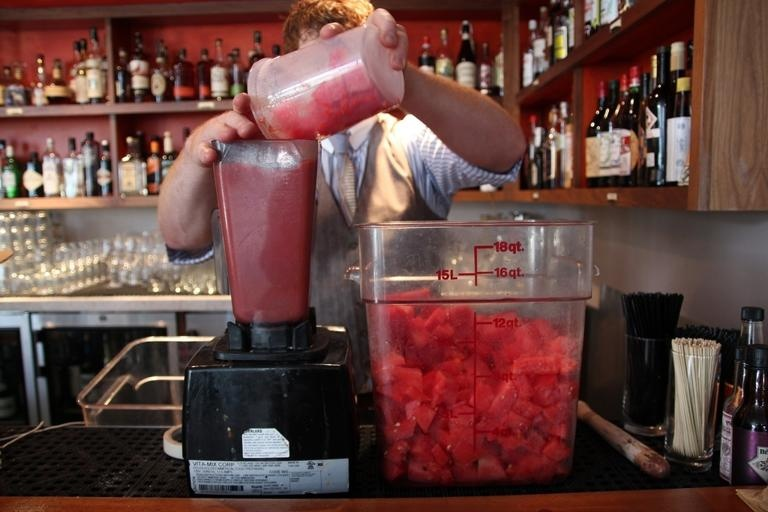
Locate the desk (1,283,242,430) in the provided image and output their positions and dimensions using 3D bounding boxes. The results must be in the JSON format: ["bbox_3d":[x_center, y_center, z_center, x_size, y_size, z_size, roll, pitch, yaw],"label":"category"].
[{"bbox_3d":[-1.184,0.276,3.119,1.096,0.691,0.578,-1,-5,-6],"label":"desk"}]

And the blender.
[{"bbox_3d":[-0.239,0.128,1.410,0.352,0.715,0.126,-1,10,0],"label":"blender"}]

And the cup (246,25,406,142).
[{"bbox_3d":[-0.096,-0.335,1.512,0.350,0.256,0.240,-15,20,3],"label":"cup"}]

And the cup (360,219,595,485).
[{"bbox_3d":[0.201,0.206,1.601,0.553,0.559,0.527,-1,-2,0],"label":"cup"}]

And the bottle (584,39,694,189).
[{"bbox_3d":[0.741,-0.406,2.000,0.107,0.424,0.492,-2,8,-14],"label":"bottle"}]

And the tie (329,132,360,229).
[{"bbox_3d":[-0.120,-0.235,2.178,0.074,0.359,0.056,-4,-28,-1],"label":"tie"}]
